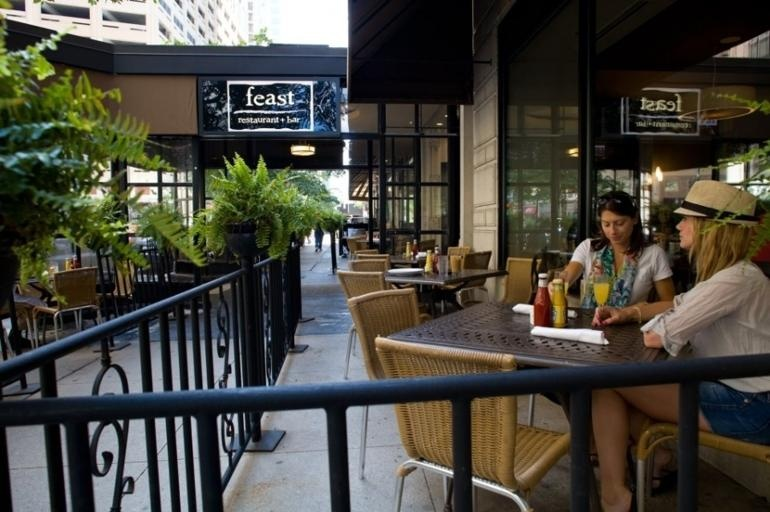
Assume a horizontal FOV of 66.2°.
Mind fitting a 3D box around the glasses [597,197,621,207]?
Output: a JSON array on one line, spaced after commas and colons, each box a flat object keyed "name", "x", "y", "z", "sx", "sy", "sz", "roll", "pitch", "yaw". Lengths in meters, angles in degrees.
[{"name": "glasses", "x": 1.457, "y": -0.346, "z": 3.783, "sx": 0.074, "sy": 0.025, "sz": 0.070, "roll": 9, "pitch": -5, "yaw": -27}]

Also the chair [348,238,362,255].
[{"name": "chair", "x": -0.580, "y": -0.197, "z": 11.499, "sx": 0.315, "sy": 0.279, "sz": 0.485, "roll": -4, "pitch": 6, "yaw": -18}]

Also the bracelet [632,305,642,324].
[{"name": "bracelet", "x": 1.413, "y": 0.323, "z": 3.329, "sx": 0.027, "sy": 0.067, "sz": 0.058, "roll": -7, "pitch": -26, "yaw": 14}]

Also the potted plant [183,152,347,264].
[{"name": "potted plant", "x": -0.692, "y": -0.274, "z": 3.545, "sx": 0.845, "sy": 0.612, "sz": 0.780, "roll": 3, "pitch": -4, "yaw": -35}]

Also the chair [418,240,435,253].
[{"name": "chair", "x": 0.622, "y": -0.159, "z": 8.987, "sx": 0.239, "sy": 0.258, "sz": 0.242, "roll": 2, "pitch": 5, "yaw": 26}]

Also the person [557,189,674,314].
[{"name": "person", "x": 1.481, "y": 0.091, "z": 3.851, "sx": 0.730, "sy": 0.952, "sz": 0.523, "roll": 0, "pitch": 13, "yaw": 20}]

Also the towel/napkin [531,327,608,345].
[{"name": "towel/napkin", "x": 0.925, "y": 0.384, "z": 2.931, "sx": 0.311, "sy": 0.077, "sz": 0.073, "roll": 2, "pitch": 52, "yaw": 25}]
